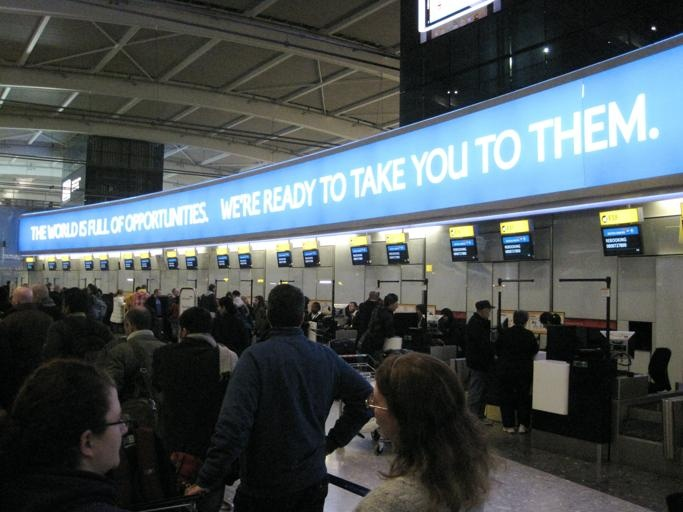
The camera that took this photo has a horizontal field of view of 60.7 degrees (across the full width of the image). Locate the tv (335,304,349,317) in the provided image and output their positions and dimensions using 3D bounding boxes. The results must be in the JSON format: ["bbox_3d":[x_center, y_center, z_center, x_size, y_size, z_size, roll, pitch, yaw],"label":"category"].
[{"bbox_3d":[0.028,1.370,14.693,0.324,0.136,0.461,1,-2,2],"label":"tv"}]

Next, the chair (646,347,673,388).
[{"bbox_3d":[4.501,1.637,8.390,0.476,0.603,0.464,-1,-2,31],"label":"chair"}]

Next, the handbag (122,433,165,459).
[{"bbox_3d":[-1.002,0.939,2.963,0.123,0.063,0.173,2,-3,-10],"label":"handbag"}]

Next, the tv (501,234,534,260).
[{"bbox_3d":[3.345,-0.172,11.017,0.229,0.470,0.614,2,-3,-37],"label":"tv"}]

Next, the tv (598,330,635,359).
[{"bbox_3d":[4.149,1.293,8.605,0.316,0.356,0.572,-1,-3,25],"label":"tv"}]
